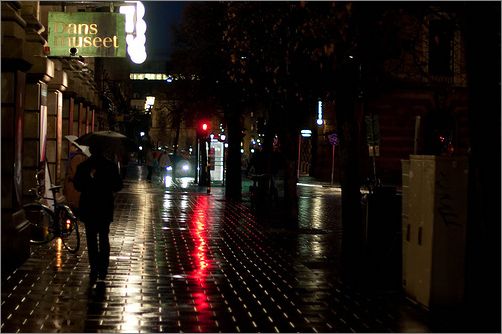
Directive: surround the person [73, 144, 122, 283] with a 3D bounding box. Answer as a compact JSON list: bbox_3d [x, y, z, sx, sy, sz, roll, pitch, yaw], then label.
[{"bbox_3d":[-2.840,0.829,8.884,0.733,2.475,0.729,3,0,-42],"label":"person"}]
